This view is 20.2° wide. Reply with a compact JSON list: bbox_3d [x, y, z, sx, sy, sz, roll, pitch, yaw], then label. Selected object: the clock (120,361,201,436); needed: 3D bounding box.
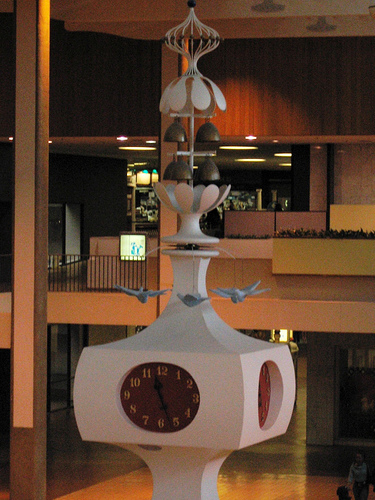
[{"bbox_3d":[-0.189,1.181,8.452,0.440,0.570,0.067,-1,-1,14],"label":"clock"}]
